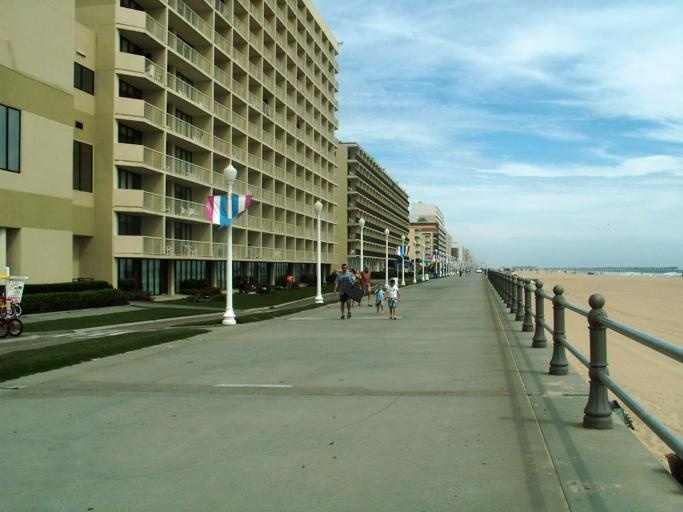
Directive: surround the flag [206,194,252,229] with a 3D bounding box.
[{"bbox_3d":[-4.029,-1.552,23.491,1.377,1.054,0.906,-1,3,-14],"label":"flag"}]
